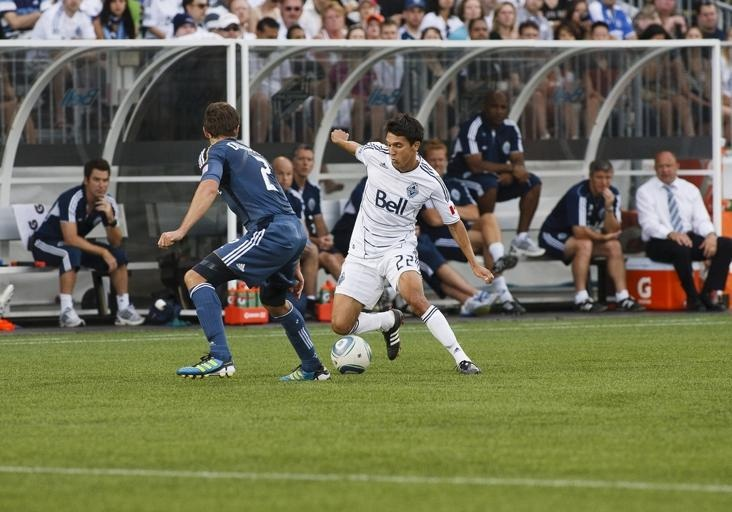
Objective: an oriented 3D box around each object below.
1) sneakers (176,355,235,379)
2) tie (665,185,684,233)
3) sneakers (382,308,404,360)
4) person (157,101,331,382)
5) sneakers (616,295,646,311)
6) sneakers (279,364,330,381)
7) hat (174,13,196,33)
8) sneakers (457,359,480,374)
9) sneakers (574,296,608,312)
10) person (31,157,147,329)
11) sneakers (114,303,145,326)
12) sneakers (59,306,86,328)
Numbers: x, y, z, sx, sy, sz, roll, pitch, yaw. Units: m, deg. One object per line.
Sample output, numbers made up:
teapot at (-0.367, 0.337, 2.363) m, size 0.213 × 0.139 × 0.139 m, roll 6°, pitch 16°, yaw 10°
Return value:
sneakers at (-1.455, 1.020, 13.990) m, size 0.605 × 0.252 × 0.212 m, roll 2°, pitch -3°, yaw -1°
tie at (3.829, -0.581, 18.481) m, size 0.150 × 0.569 × 0.068 m, roll -14°, pitch -8°, yaw 11°
sneakers at (0.288, 0.779, 14.945) m, size 0.253 × 0.491 × 0.177 m, roll -3°, pitch 12°, yaw -5°
person at (-1.120, -0.123, 13.967) m, size 1.350 × 2.626 × 0.523 m, roll -3°, pitch 2°, yaw -23°
sneakers at (3.310, 0.567, 18.449) m, size 0.327 × 0.155 × 0.155 m, roll 0°, pitch 5°, yaw 9°
sneakers at (-0.568, 1.103, 14.254) m, size 0.508 × 0.187 × 0.170 m, roll 1°, pitch 0°, yaw 4°
hat at (-2.313, -2.918, 19.033) m, size 0.209 × 0.250 × 0.265 m, roll -3°, pitch 3°, yaw -36°
sneakers at (1.005, 1.048, 14.384) m, size 0.256 × 0.114 × 0.095 m, roll 3°, pitch 14°, yaw 33°
sneakers at (2.786, 0.597, 18.425) m, size 0.412 × 0.182 × 0.151 m, roll -1°, pitch -1°, yaw 18°
person at (-3.312, -0.147, 17.631) m, size 1.185 × 1.945 × 0.474 m, roll -3°, pitch 2°, yaw -17°
sneakers at (-2.805, 0.695, 17.664) m, size 0.379 × 0.213 × 0.180 m, roll 3°, pitch 5°, yaw 20°
sneakers at (-3.436, 0.713, 17.481) m, size 0.159 × 0.179 × 0.345 m, roll 0°, pitch -1°, yaw -42°
